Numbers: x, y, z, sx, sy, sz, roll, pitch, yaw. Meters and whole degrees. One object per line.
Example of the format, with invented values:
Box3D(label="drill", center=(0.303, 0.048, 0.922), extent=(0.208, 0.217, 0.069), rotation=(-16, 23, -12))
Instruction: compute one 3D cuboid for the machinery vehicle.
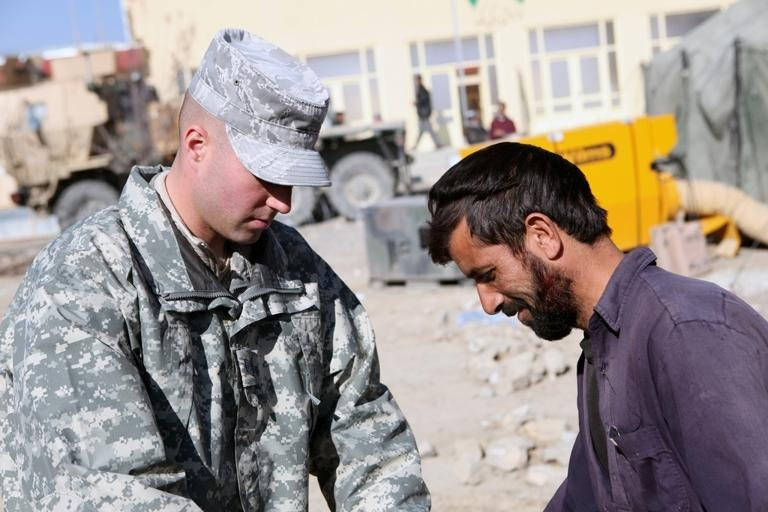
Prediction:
Box3D(label="machinery vehicle", center=(-2.398, -1.223, 14.795), extent=(4.424, 2.519, 2.640), rotation=(2, 2, -1))
